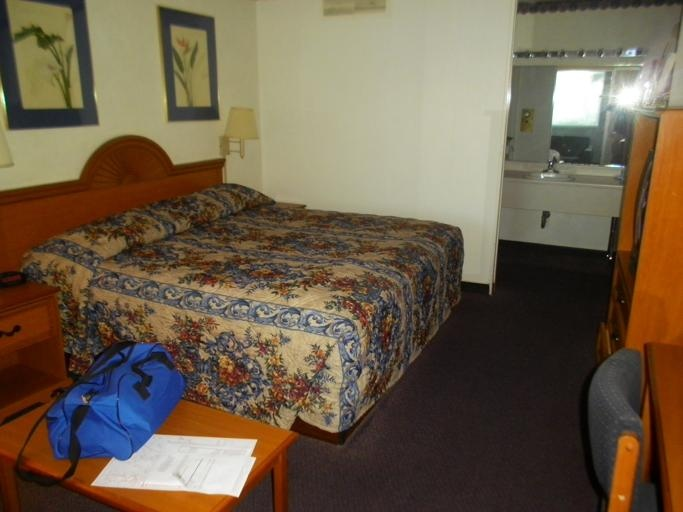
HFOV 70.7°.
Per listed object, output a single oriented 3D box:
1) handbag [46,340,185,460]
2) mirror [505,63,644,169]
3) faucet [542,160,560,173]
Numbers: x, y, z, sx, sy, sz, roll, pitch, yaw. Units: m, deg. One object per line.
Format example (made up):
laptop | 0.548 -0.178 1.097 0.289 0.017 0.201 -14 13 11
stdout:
handbag | -0.967 0.632 2.125 0.335 0.205 0.494 4 26 14
mirror | 2.834 -1.717 5.750 1.594 1.236 0.115 6 18 19
faucet | 2.689 -1.150 6.156 0.162 0.189 0.169 10 28 28
